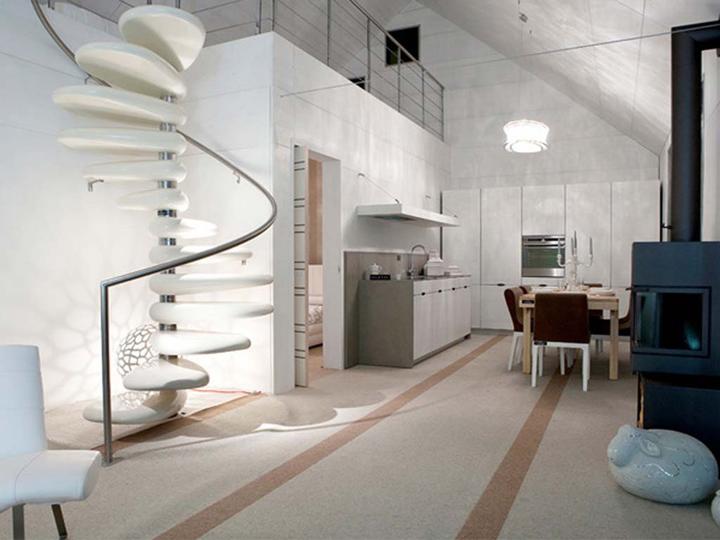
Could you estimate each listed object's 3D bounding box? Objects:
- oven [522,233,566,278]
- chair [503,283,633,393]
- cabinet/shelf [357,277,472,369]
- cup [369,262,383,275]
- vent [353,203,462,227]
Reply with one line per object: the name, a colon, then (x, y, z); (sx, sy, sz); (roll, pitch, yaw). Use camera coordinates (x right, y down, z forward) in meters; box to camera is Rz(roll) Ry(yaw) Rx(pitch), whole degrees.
oven: (3.023, -0.181, 8.783); (0.605, 0.720, 0.480); (0, -8, 21)
chair: (2.340, 0.922, 5.943); (0.884, 0.775, 1.519); (-1, -1, 24)
cabinet/shelf: (0.754, 0.625, 7.024); (0.692, 1.086, 1.850); (4, 6, 35)
cup: (0.188, 0.009, 6.693); (0.104, 0.149, 0.174); (-3, -7, 19)
vent: (0.630, -0.727, 7.113); (0.592, 0.239, 1.809); (3, 6, 29)
